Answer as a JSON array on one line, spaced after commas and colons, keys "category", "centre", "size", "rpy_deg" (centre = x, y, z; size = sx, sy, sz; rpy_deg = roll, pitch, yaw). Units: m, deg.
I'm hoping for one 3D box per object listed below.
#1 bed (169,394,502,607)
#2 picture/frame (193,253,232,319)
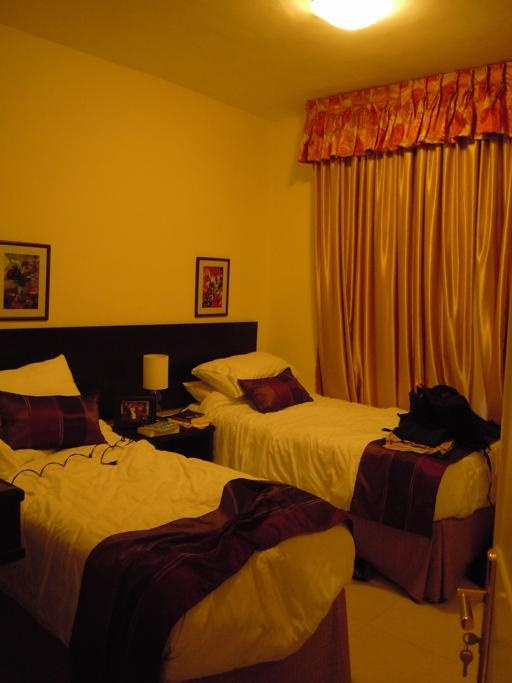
[{"category": "bed", "centre": [0.524, 0.677, 2.979], "size": [1.345, 0.588, 0.808], "rpy_deg": [8, 12, 42]}, {"category": "picture/frame", "centre": [-0.370, -0.462, 4.158], "size": [0.032, 0.576, 0.453], "rpy_deg": [9, 12, 36]}]
